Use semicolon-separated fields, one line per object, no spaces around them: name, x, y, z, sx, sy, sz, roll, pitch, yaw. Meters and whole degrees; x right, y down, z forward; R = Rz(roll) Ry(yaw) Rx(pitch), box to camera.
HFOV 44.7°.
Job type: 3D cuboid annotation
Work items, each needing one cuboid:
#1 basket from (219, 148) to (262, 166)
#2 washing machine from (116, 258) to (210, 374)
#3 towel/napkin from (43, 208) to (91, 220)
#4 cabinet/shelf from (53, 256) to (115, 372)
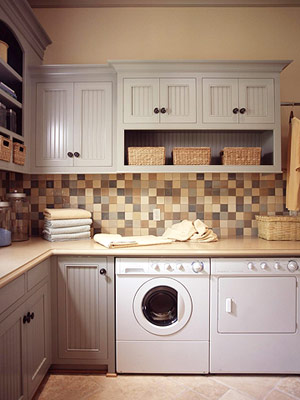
basket;0.641;-0.268;2.544;0.205;0.101;0.148;0;-1;-1
washing machine;0.088;0.744;2.620;0.767;0.986;0.686;0;-3;-1
towel/napkin;-0.603;0.107;2.636;0.333;0.073;0.176;-1;12;-8
cabinet/shelf;-0.421;0.727;2.322;0.392;0.720;0.167;0;12;-3
